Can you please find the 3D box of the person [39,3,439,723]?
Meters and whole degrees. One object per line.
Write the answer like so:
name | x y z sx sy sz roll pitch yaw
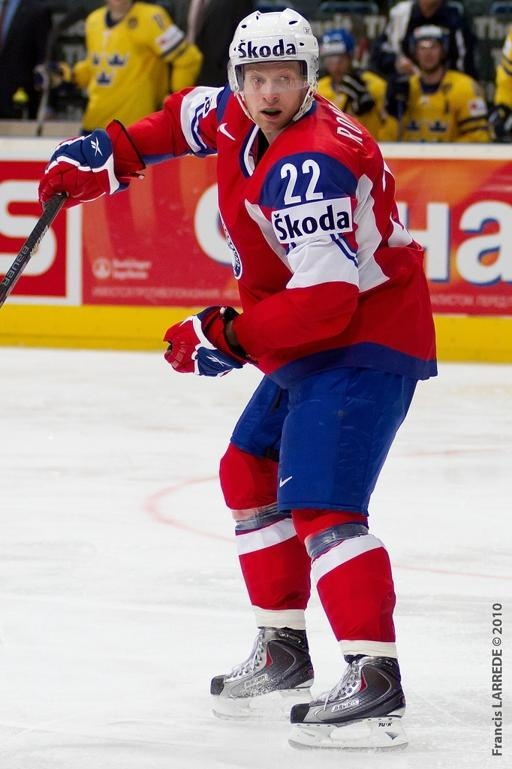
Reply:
person | 0.037 -0.040 1.630 0.442 1.213 0.805 -7 14 -34

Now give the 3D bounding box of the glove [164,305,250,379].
glove | -0.082 -0.083 1.532 0.152 0.122 0.099 -16 53 -9

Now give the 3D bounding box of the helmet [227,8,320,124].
helmet | 0.027 -0.509 1.425 0.138 0.182 0.123 1 12 0

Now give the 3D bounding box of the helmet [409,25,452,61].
helmet | 1.157 -2.284 6.003 0.227 0.179 0.200 2 -2 14
